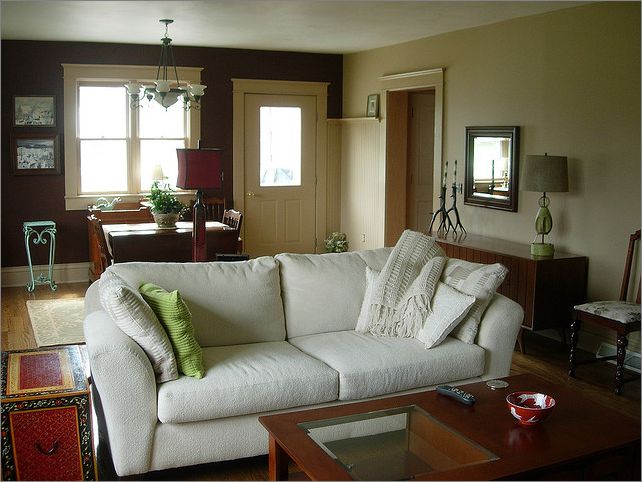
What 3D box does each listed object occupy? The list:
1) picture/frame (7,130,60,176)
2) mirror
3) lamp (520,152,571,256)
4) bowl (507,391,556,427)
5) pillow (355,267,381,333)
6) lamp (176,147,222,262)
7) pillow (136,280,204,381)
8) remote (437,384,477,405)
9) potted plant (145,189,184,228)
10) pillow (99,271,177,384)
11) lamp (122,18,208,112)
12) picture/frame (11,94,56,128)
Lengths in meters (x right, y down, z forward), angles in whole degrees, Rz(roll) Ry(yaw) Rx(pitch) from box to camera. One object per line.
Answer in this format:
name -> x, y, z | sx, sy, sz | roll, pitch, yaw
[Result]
picture/frame -> -3.744, -1.148, 6.464 | 0.557, 0.595, 0.039 | -2, 3, -27
mirror -> 1.857, -0.793, 5.380 | 0.073, 1.082, 0.876 | -3, 7, -28
lamp -> 2.035, -0.330, 4.559 | 0.368, 0.886, 0.654 | 5, 11, 32
bowl -> 0.997, 0.821, 2.348 | 0.259, 0.123, 0.271 | 16, -16, 5
pillow -> 0.314, 0.404, 3.387 | 0.090, 0.357, 0.231 | 6, 4, -9
lamp -> -0.951, -0.187, 3.907 | 0.347, 1.124, 0.348 | -1, 8, -15
pillow -> -0.833, 0.501, 2.861 | 0.519, 0.479, 0.279 | 4, 4, 44
remote -> 0.687, 0.757, 2.498 | 0.067, 0.050, 0.172 | -7, 14, -38
potted plant -> -1.800, -0.368, 5.764 | 0.383, 0.453, 0.423 | -1, -1, -6
pillow -> -1.002, 0.440, 2.770 | 0.288, 0.501, 0.551 | -9, 19, -43
lamp -> -1.817, -2.065, 5.866 | 0.917, 1.003, 0.988 | -5, 12, -30
picture/frame -> -3.711, -1.667, 6.417 | 0.444, 0.394, 0.034 | -1, 2, -30
